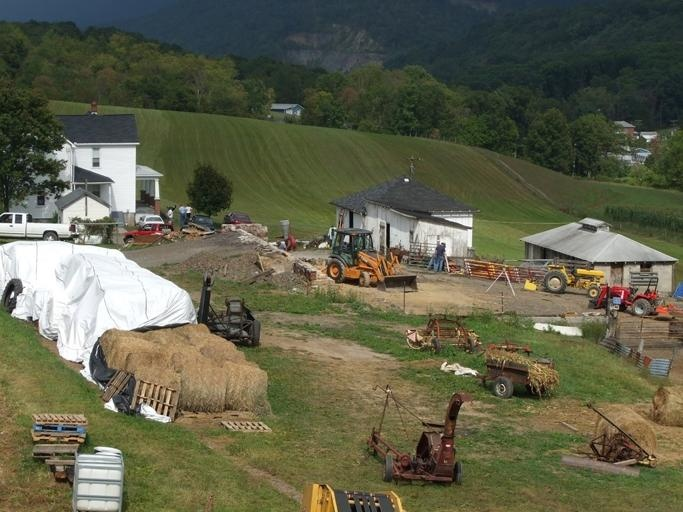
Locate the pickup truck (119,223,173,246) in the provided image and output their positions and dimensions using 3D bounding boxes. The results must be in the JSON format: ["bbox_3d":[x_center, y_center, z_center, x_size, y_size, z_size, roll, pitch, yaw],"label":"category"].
[{"bbox_3d":[-17.079,-1.914,113.758,3.197,1.732,2.091,2,2,-3],"label":"pickup truck"}]

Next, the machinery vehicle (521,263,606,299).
[{"bbox_3d":[19.216,1.874,109.592,5.940,2.376,4.446,6,5,12],"label":"machinery vehicle"}]

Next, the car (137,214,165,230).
[{"bbox_3d":[-17.470,-3.250,118.336,1.492,1.168,3.416,-2,11,-17],"label":"car"}]

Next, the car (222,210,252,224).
[{"bbox_3d":[-9.929,-3.618,122.092,2.491,1.030,2.254,6,5,12],"label":"car"}]

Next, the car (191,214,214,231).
[{"bbox_3d":[-12.536,-3.143,117.149,2.031,1.126,3.220,4,5,-8],"label":"car"}]

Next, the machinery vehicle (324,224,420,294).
[{"bbox_3d":[2.241,-0.083,106.961,6.853,5.188,3.158,1,0,10],"label":"machinery vehicle"}]

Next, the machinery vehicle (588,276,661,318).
[{"bbox_3d":[22.846,3.510,103.877,5.381,3.702,3.111,4,3,31],"label":"machinery vehicle"}]
